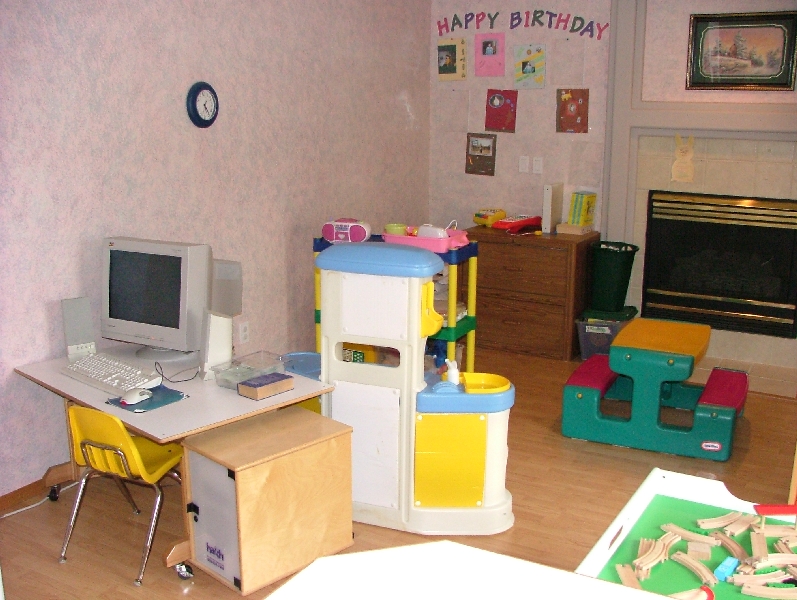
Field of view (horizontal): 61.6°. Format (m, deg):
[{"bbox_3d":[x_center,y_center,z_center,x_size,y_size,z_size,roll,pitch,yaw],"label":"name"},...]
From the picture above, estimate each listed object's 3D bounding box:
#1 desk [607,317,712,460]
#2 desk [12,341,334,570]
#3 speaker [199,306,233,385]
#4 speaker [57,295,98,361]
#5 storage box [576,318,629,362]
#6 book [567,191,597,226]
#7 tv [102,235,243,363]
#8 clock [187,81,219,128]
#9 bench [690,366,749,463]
[{"bbox_3d":[1.487,0.438,3.919,0.655,0.540,0.867,3,14,20],"label":"desk"},{"bbox_3d":[-0.918,0.833,3.131,1.389,0.659,0.826,14,18,34],"label":"desk"},{"bbox_3d":[-0.818,0.212,3.032,0.072,0.262,0.196,8,5,16],"label":"speaker"},{"bbox_3d":[-1.538,0.137,3.238,0.173,0.292,0.070,-12,12,-38],"label":"speaker"},{"bbox_3d":[1.530,0.250,5.015,0.344,0.266,0.284,8,14,35],"label":"storage box"},{"bbox_3d":[1.422,-0.698,5.145,0.176,0.299,0.226,18,20,34],"label":"book"},{"bbox_3d":[-1.123,0.011,3.243,0.601,0.537,0.327,7,8,22],"label":"tv"},{"bbox_3d":[-1.129,-1.123,3.857,0.042,0.259,0.221,6,11,29],"label":"clock"},{"bbox_3d":[1.803,0.660,3.749,0.170,0.232,0.496,4,14,26],"label":"bench"}]
